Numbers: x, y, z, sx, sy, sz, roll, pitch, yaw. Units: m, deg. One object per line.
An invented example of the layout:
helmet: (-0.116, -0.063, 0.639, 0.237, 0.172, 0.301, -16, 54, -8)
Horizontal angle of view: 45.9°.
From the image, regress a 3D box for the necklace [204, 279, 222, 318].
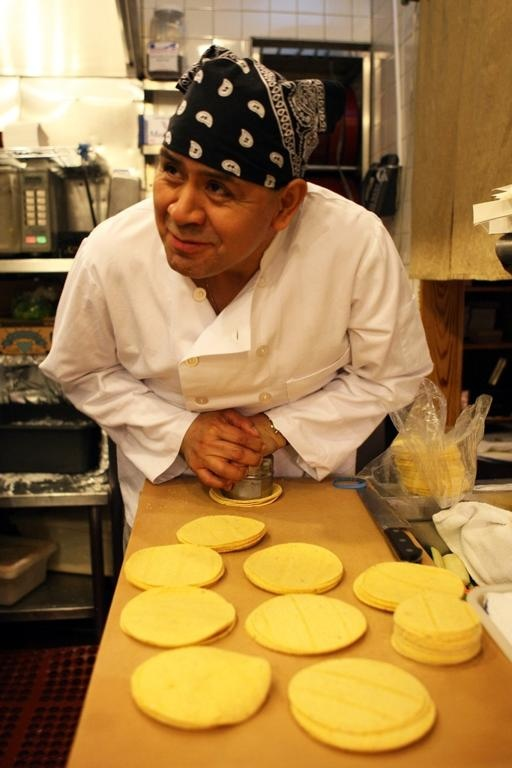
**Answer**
necklace: (-0.088, -0.177, 1.260, 0.033, 0.067, 0.016, 9, 47, 22)

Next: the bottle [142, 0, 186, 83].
bottle: (-0.521, -1.945, 3.496, 0.253, 0.464, 0.112, 0, -10, 0)

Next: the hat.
hat: (0.030, -0.516, 1.149, 0.343, 0.198, 0.336, 6, 31, -3)

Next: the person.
person: (-0.045, -0.084, 1.381, 0.842, 1.104, 0.614, 6, 38, 4)

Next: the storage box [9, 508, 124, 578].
storage box: (-0.766, 0.597, 2.413, 0.364, 0.210, 0.290, 2, -8, -13)
